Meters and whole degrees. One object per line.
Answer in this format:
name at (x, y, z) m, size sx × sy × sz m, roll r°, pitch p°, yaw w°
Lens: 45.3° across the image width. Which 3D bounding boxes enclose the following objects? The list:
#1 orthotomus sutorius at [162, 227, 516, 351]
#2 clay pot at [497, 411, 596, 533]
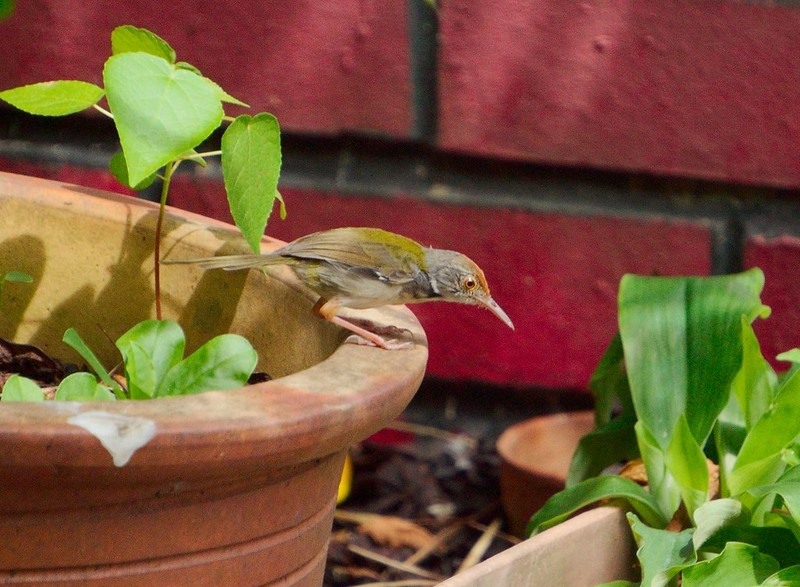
orthotomus sutorius at (-0.068, -0.012, 1.382) m, size 0.475 × 0.181 × 0.136 m, roll 7°, pitch 4°, yaw -4°
clay pot at (0.274, 0.292, 1.781) m, size 0.191 × 0.149 × 0.192 m, roll 2°, pitch 29°, yaw -1°
